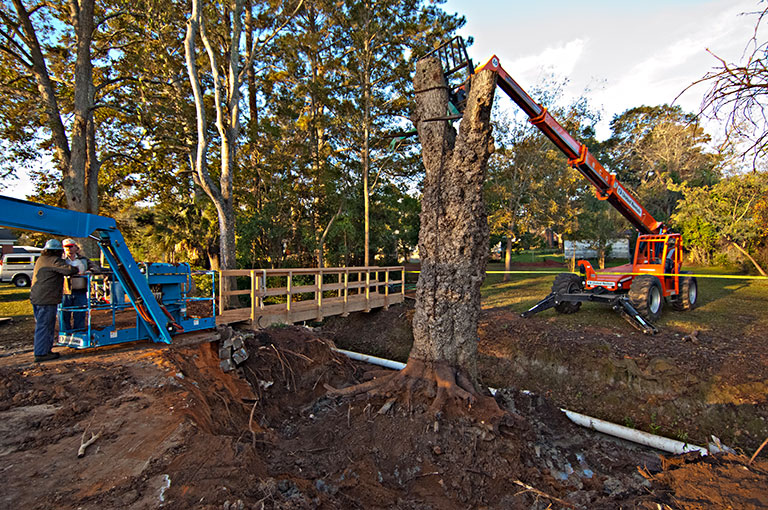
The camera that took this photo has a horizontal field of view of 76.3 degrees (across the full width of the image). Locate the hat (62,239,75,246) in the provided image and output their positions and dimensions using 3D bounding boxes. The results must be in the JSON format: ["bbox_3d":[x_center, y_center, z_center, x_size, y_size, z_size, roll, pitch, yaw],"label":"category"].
[{"bbox_3d":[-8.156,-0.334,12.618,0.192,0.219,0.238,0,2,-38],"label":"hat"}]

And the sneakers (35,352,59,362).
[{"bbox_3d":[-8.124,2.411,11.888,0.558,0.255,0.208,-4,6,-14],"label":"sneakers"}]

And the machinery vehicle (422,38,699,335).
[{"bbox_3d":[6.219,-1.796,15.900,10.128,8.264,5.022,1,-4,-30],"label":"machinery vehicle"}]

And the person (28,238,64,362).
[{"bbox_3d":[-8.235,1.060,11.989,0.703,2.979,0.477,-2,-1,-37],"label":"person"}]
